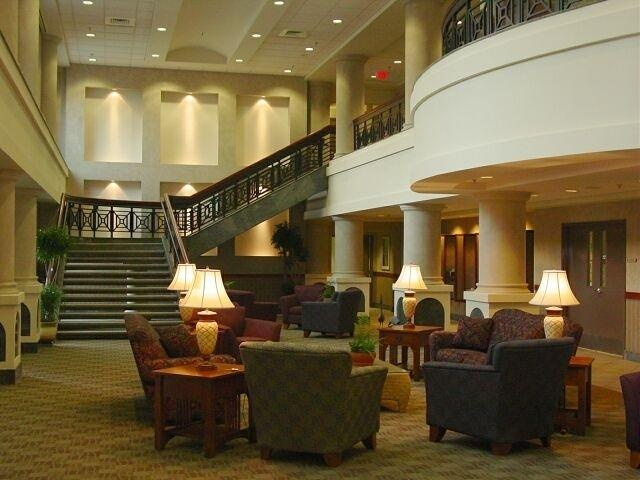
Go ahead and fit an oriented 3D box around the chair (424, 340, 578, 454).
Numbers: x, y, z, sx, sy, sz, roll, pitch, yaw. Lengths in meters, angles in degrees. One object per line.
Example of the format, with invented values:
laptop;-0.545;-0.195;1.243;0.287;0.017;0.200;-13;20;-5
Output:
chair;2.247;1.531;6.339;1.113;1.263;1.969;6;-7;-12

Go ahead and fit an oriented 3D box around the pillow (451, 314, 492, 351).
pillow;2.139;1.297;6.852;0.419;0.454;0.191;4;-23;30

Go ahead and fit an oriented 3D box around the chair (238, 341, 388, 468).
chair;-0.040;1.414;4.700;1.091;1.035;1.175;-2;-4;26

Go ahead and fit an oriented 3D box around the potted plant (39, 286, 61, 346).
potted plant;-5.506;1.552;10.036;0.334;1.188;0.483;1;-1;-30

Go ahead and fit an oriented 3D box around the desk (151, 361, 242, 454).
desk;-1.283;1.572;4.799;0.801;0.838;0.827;-1;-1;40

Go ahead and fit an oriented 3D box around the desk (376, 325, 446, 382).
desk;1.202;1.805;7.878;0.772;0.718;0.796;1;-6;10

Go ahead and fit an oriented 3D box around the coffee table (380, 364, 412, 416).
coffee table;0.896;1.837;5.919;0.459;0.441;0.868;-1;2;0

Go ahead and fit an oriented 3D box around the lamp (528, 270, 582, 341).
lamp;2.679;0.760;5.657;0.441;0.793;0.804;-1;-2;40

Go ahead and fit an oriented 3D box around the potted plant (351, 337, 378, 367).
potted plant;0.551;1.343;5.935;0.337;0.367;0.302;1;-11;-6
